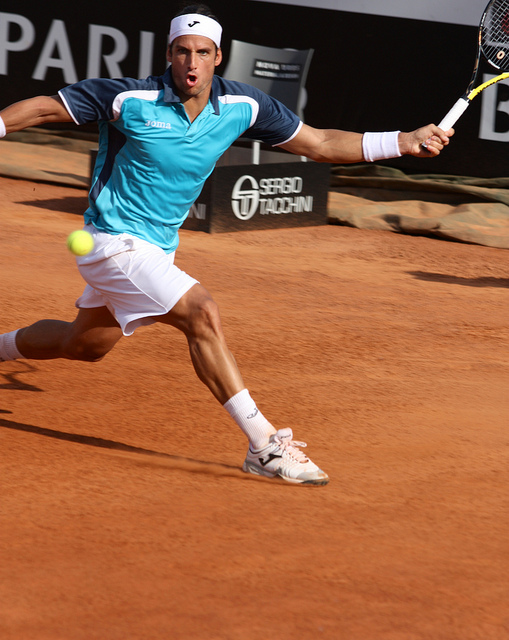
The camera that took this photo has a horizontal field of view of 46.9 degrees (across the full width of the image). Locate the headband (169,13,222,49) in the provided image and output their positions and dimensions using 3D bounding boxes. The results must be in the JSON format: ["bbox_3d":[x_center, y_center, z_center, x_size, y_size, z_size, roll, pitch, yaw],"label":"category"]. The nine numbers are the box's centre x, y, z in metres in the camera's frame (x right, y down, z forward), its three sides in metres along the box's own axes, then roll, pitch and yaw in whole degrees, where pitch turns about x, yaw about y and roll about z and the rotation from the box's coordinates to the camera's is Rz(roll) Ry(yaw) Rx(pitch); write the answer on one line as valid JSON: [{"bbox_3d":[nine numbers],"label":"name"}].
[{"bbox_3d":[-0.214,-1.044,2.135,0.159,0.068,0.142,0,-3,22],"label":"headband"}]

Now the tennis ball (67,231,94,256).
[{"bbox_3d":[-0.628,-0.272,2.107,0.082,0.090,0.110,2,10,-21],"label":"tennis ball"}]
